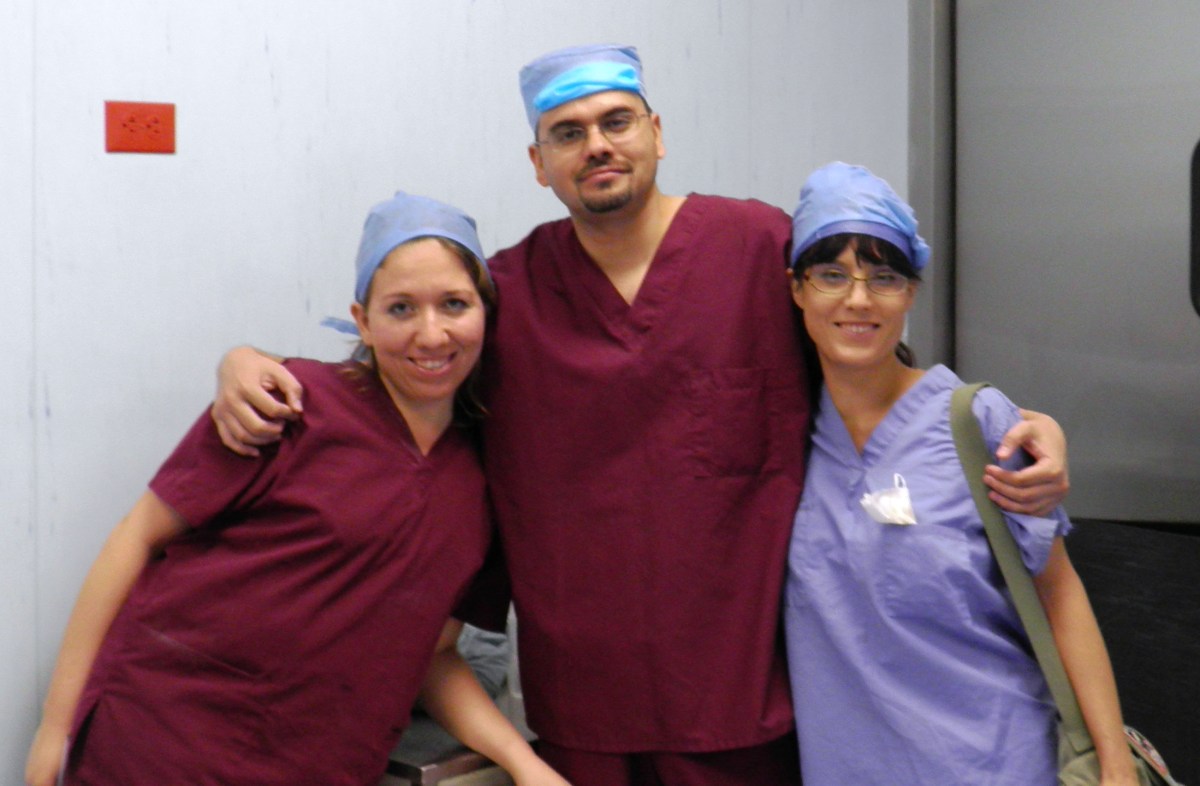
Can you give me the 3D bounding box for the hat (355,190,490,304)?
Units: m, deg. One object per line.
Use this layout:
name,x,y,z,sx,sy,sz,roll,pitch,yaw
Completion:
hat,-0.376,-0.299,1.926,0.205,0.191,0.233,-1,5,-2
